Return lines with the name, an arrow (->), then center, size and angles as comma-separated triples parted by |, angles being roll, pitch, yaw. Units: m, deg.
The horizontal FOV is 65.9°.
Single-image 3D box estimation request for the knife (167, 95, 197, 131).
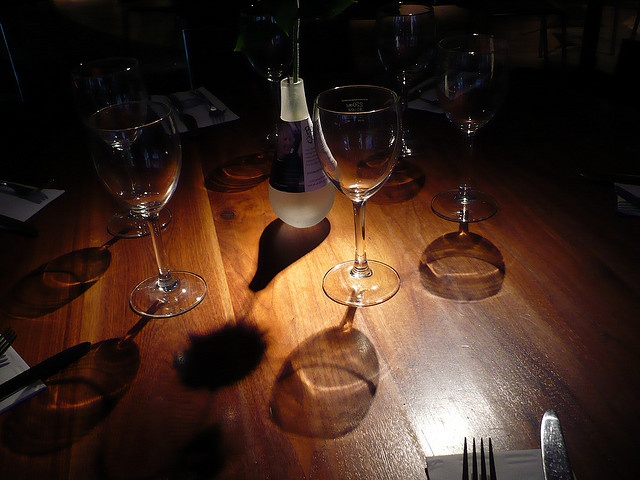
knife -> -0.342, -0.308, 1.199 | 0.045, 0.057, 0.204 | -5, 35, -21
